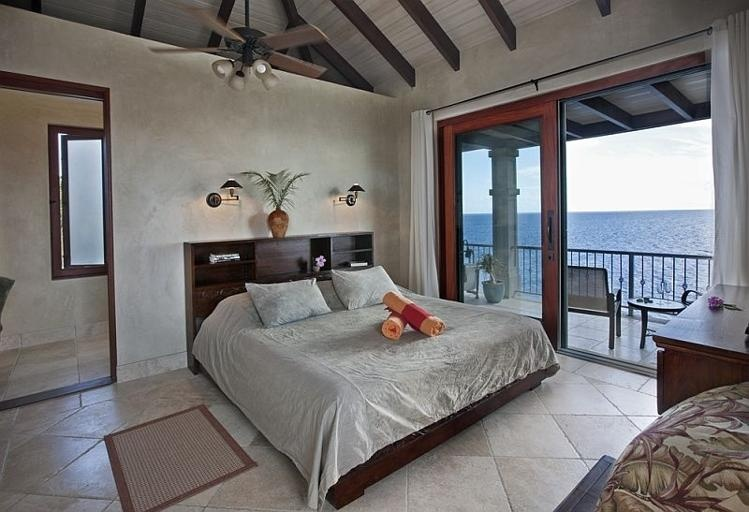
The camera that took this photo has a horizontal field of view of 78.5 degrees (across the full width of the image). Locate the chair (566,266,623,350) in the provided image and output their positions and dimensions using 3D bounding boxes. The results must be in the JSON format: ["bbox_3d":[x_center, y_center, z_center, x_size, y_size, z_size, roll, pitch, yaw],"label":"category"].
[{"bbox_3d":[2.864,0.624,6.168,0.777,1.008,0.642,2,7,42],"label":"chair"}]

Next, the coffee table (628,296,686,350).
[{"bbox_3d":[3.467,0.828,5.618,0.677,0.541,0.691,-2,5,13],"label":"coffee table"}]

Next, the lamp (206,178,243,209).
[{"bbox_3d":[-1.722,-0.727,5.309,0.432,0.295,0.261,-5,4,-23],"label":"lamp"}]

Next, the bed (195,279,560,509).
[{"bbox_3d":[-0.469,1.000,4.160,2.014,0.760,1.909,-5,6,-41],"label":"bed"}]

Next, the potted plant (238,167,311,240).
[{"bbox_3d":[-1.257,-0.645,5.686,0.686,0.787,0.797,0,5,-21],"label":"potted plant"}]

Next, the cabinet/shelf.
[{"bbox_3d":[-1.063,0.285,5.746,2.403,1.117,0.372,-6,9,-38],"label":"cabinet/shelf"}]

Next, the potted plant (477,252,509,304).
[{"bbox_3d":[1.541,0.289,6.034,0.286,0.606,0.278,2,1,33],"label":"potted plant"}]

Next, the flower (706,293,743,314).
[{"bbox_3d":[2.818,0.388,3.711,0.121,0.091,0.181,-10,15,-30],"label":"flower"}]

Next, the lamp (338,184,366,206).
[{"bbox_3d":[-0.289,-0.810,6.225,0.322,0.256,0.278,-1,-1,40],"label":"lamp"}]
